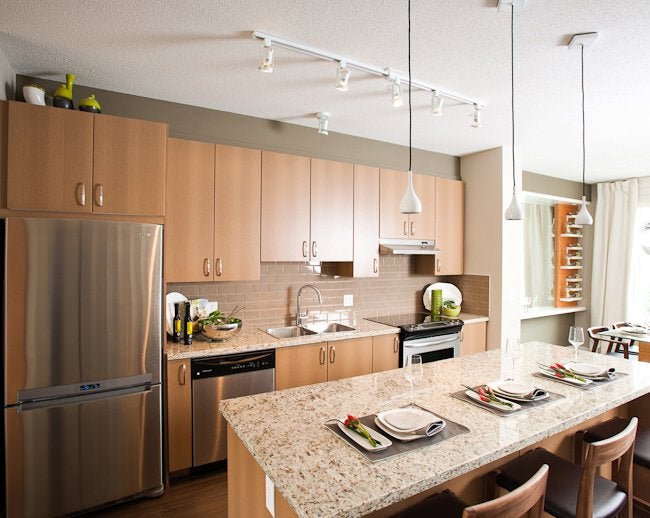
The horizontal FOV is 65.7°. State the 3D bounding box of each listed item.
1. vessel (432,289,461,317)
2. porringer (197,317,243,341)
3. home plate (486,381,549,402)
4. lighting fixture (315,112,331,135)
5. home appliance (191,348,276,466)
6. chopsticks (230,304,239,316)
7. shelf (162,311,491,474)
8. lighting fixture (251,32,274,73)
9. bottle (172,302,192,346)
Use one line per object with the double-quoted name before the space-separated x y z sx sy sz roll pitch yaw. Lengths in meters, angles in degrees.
"vessel" 1.223 0.455 5.183 0.303 0.310 0.224 -1 -1 6
"porringer" -0.796 0.548 3.860 0.294 0.152 0.175 -7 13 -27
"home plate" 1.073 0.737 2.808 0.173 0.030 0.152 -2 4 -29
"lighting fixture" -0.018 -1.158 4.242 0.107 0.204 0.135 0 1 -28
"home appliance" -0.634 1.107 4.113 0.719 1.084 0.719 1 -3 -29
"chopsticks" -0.761 0.431 4.260 0.033 0.102 0.004 27 -29 17
"shelf" 0.149 1.066 4.457 3.086 0.889 0.499 -2 -2 -37
"lighting fixture" -0.370 -1.279 3.095 0.156 0.221 0.134 26 28 26
"bottle" -1.090 0.466 3.847 0.152 0.301 0.338 -4 12 -15
